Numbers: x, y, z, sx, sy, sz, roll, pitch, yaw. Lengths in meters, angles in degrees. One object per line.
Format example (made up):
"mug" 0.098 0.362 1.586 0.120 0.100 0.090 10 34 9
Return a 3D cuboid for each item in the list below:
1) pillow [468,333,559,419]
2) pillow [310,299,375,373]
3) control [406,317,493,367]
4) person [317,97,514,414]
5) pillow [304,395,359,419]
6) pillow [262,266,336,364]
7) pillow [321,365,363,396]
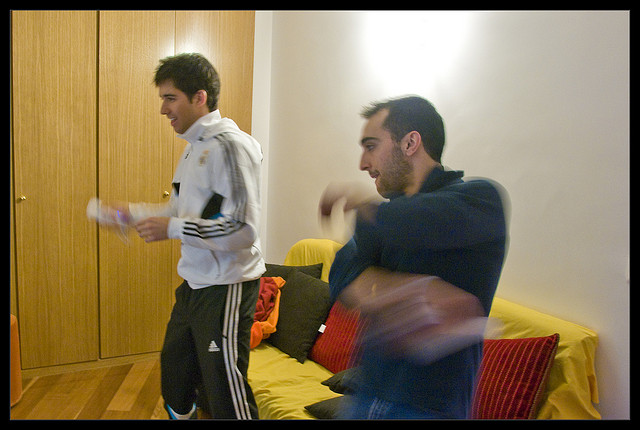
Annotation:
"pillow" 0.494 0.410 1.238 0.073 0.225 0.242 15 -12 -37
"pillow" 0.048 0.358 1.434 0.052 0.222 0.357 29 -16 -19
"control" 0.288 0.299 1.134 0.174 0.143 0.039 2 11 11
"person" 0.216 0.122 1.164 0.426 0.793 0.213 4 11 19
"pillow" 0.014 0.499 1.278 0.104 0.030 0.106 -3 -5 -33
"pillow" -0.069 0.345 1.660 0.308 0.287 0.099 27 5 39
"pillow" 0.069 0.442 1.277 0.113 0.032 0.094 -16 12 -11
